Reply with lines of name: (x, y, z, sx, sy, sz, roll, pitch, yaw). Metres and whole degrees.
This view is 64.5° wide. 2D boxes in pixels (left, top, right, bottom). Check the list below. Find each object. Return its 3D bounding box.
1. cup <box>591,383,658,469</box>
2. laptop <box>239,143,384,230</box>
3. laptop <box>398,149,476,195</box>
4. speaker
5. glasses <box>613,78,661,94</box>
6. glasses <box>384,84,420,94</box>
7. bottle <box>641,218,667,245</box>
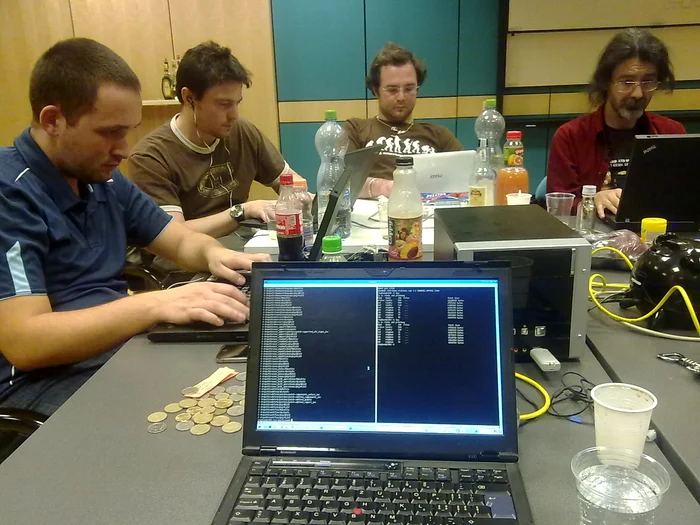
cup: (0.554, 0.313, 1.131, 0.144, 0.151, 0.148, -1, 15, 0)
laptop: (-0.121, -0.360, 2.193, 0.428, 0.306, 0.494, 5, 17, 15)
laptop: (0.432, -0.409, 2.505, 0.318, 0.221, 0.226, -2, 23, -1)
speaker: (0.443, 0.109, 1.621, 0.330, 0.406, 0.626, -1, 12, 1)
glasses: (1.464, -0.887, 2.773, 0.250, 0.071, 0.092, -10, 21, -16)
glasses: (0.314, -1.027, 3.285, 0.210, 0.058, 0.069, -13, 22, -22)
bottle: (1.046, -0.107, 1.904, 0.086, 0.096, 0.088, -1, 17, 6)
